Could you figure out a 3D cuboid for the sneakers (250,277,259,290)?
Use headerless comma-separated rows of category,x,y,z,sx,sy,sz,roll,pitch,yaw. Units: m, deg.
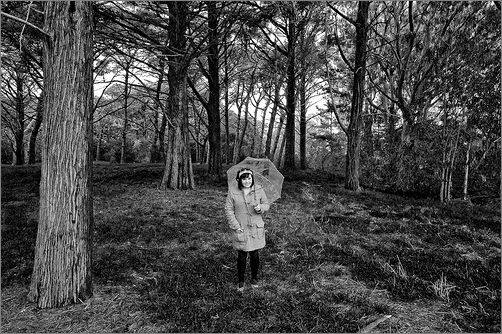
sneakers,0.084,2.878,10.133,0.146,0.279,0.269,0,-19,0

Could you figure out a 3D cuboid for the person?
person,-0.132,1.574,10.118,0.998,2.961,0.397,2,2,-2

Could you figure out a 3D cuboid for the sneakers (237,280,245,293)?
sneakers,-0.246,2.951,10.034,0.133,0.247,0.228,0,-14,-3
